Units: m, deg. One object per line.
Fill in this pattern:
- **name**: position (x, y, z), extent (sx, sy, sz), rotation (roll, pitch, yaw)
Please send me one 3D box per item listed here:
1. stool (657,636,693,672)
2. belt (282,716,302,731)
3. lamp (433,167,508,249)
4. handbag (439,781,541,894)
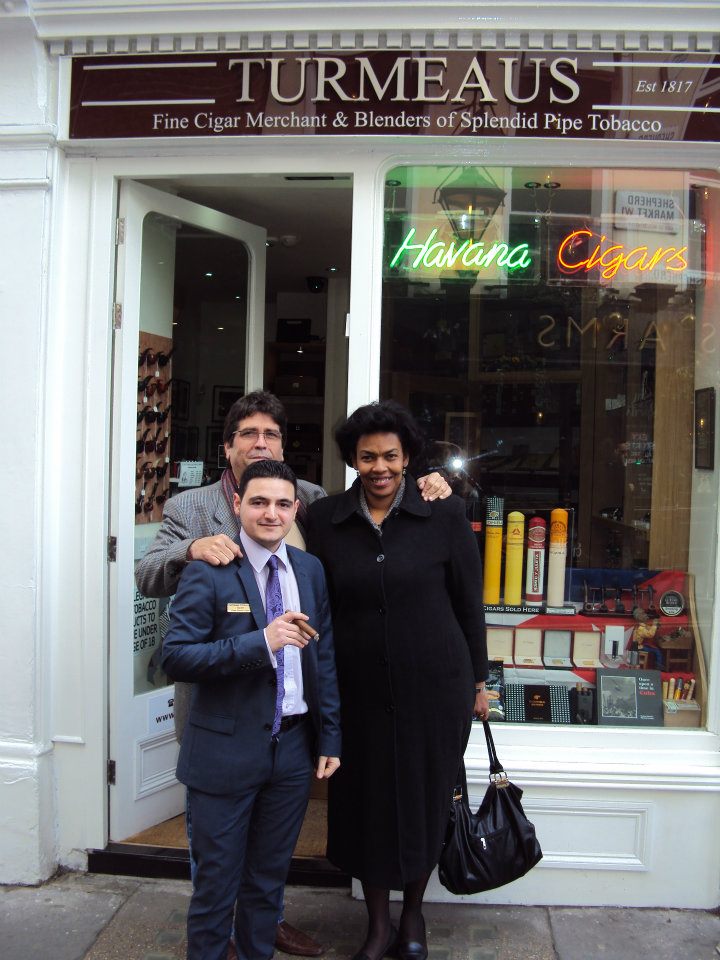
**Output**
- **stool**: position (1.174, 0.653, 3.265), extent (0.121, 0.111, 0.118), rotation (1, 8, 8)
- **belt**: position (-0.181, 0.639, 2.273), extent (0.059, 0.027, 0.077), rotation (-1, 0, -2)
- **lamp**: position (0.390, -0.976, 3.196), extent (0.263, 0.325, 0.249), rotation (-1, 2, -11)
- **handbag**: position (0.374, 1.084, 2.688), extent (0.337, 0.318, 0.133), rotation (-8, 5, -19)
